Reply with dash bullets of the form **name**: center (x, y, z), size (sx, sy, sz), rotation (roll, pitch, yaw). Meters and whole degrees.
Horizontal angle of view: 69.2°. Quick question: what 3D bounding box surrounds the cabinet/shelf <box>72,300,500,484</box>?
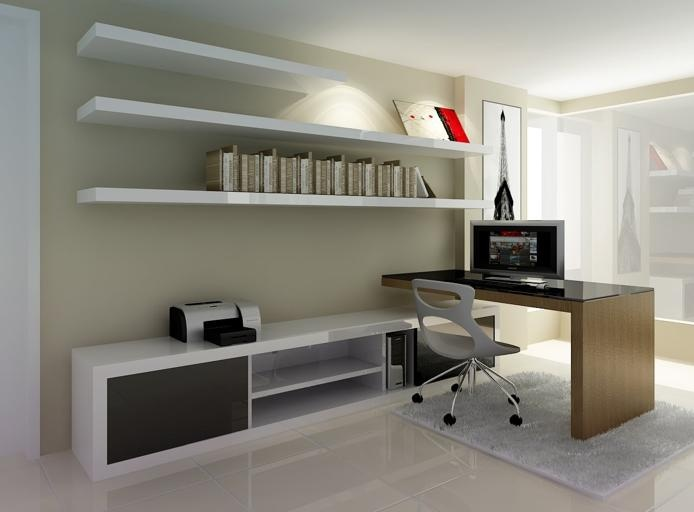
- **cabinet/shelf**: center (-0.740, 0.870, 3.699), size (2.290, 0.696, 0.578), rotation (-7, 12, -31)

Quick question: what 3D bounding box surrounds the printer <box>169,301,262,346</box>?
- **printer**: center (-0.908, 0.464, 3.609), size (0.541, 0.231, 0.547), rotation (-3, 7, -42)
